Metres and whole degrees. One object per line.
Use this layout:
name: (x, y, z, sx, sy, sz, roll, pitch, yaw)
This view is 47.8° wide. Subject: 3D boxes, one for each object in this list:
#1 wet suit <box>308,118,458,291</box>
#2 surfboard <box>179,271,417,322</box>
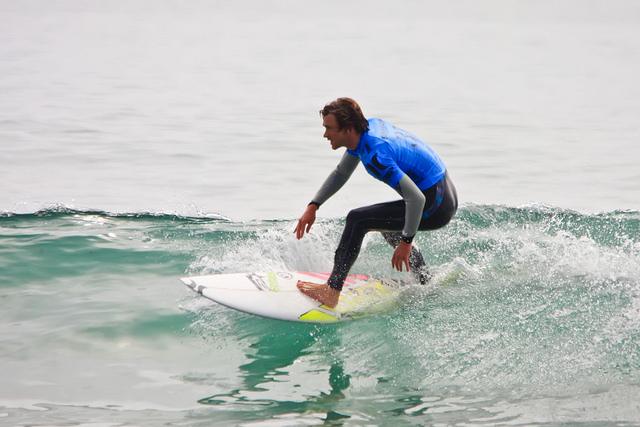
wet suit: (0.863, -0.089, 9.724, 1.908, 2.351, 0.971, 10, 7, 0)
surfboard: (-0.309, 1.181, 9.927, 4.032, 0.267, 0.859, 2, 27, -16)
